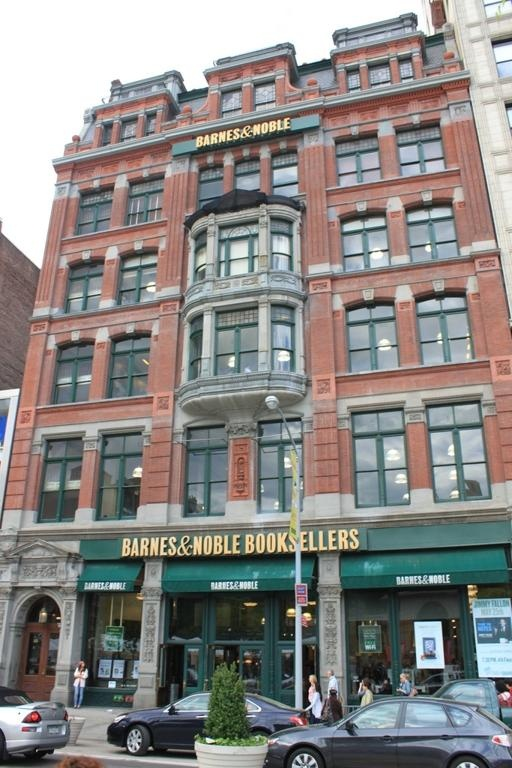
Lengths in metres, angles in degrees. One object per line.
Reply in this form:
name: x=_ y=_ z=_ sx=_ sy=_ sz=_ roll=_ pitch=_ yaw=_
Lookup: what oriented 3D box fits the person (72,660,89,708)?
person: x=-6.026 y=10.293 z=20.972 sx=0.502 sy=1.434 sz=1.764 roll=8 pitch=-28 yaw=-13
